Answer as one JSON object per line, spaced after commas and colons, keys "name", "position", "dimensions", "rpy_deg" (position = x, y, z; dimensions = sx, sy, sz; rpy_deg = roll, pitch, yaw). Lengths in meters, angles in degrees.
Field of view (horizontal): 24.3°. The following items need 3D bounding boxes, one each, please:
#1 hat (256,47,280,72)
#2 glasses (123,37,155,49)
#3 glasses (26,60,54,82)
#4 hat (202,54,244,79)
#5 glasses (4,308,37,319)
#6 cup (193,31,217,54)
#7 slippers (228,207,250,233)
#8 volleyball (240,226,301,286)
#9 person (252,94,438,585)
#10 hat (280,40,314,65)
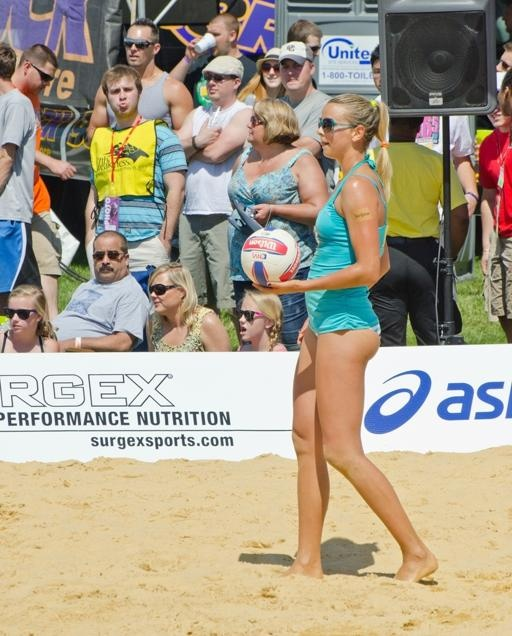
{"name": "hat", "position": [0.083, -1.714, 7.885], "dimensions": [0.134, 0.145, 0.355], "rpy_deg": [-1, 11, -3]}
{"name": "glasses", "position": [-0.773, -1.826, 7.905], "dimensions": [0.200, 0.077, 0.158], "rpy_deg": [-2, 11, -6]}
{"name": "glasses", "position": [-1.362, -1.566, 7.596], "dimensions": [0.084, 0.126, 0.198], "rpy_deg": [2, 11, 15]}
{"name": "hat", "position": [-0.195, -1.514, 7.351], "dimensions": [0.193, 0.096, 0.139], "rpy_deg": [20, -8, -27]}
{"name": "glasses", "position": [-1.317, -0.022, 6.624], "dimensions": [0.170, 0.072, 0.084], "rpy_deg": [1, 11, 6]}
{"name": "cup", "position": [-0.326, -1.888, 8.129], "dimensions": [0.143, 0.145, 0.168], "rpy_deg": [20, 44, 33]}
{"name": "slippers", "position": [-0.095, -0.545, 6.572], "dimensions": [0.054, 0.110, 0.140], "rpy_deg": [-22, 25, 0]}
{"name": "volleyball", "position": [0.062, -0.241, 4.880], "dimensions": [0.265, 0.302, 0.264], "rpy_deg": [-3, 20, -13]}
{"name": "person", "position": [0.353, 0.086, 4.556], "dimensions": [0.638, 1.846, 0.537], "rpy_deg": [-2, 11, -8]}
{"name": "hat", "position": [0.240, -1.592, 7.167], "dimensions": [0.121, 0.099, 0.189], "rpy_deg": [-1, -4, 19]}
